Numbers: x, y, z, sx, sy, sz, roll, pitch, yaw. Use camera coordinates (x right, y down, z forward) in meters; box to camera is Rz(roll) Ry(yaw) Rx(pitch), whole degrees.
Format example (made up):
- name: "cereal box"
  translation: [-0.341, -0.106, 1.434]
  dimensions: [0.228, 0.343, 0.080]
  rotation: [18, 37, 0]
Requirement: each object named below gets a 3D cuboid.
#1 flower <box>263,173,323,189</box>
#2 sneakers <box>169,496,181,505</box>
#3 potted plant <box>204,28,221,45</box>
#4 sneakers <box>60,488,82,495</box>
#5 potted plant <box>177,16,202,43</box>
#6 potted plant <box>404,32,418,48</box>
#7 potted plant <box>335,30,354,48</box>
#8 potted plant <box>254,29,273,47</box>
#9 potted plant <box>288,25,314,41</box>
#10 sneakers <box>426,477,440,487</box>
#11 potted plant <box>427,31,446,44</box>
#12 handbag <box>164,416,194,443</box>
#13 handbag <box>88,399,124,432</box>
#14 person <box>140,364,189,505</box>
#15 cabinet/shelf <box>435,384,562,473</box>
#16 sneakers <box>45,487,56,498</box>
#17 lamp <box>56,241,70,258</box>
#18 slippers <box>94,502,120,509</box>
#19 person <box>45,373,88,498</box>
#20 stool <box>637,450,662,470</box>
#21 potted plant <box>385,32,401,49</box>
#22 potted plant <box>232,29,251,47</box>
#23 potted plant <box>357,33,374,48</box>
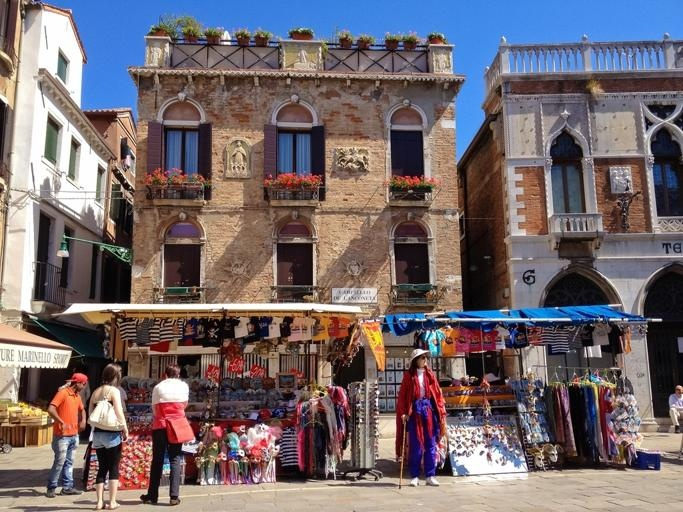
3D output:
- name: "flower"
  translation: [-1.584, -2.417, 24.402]
  dimensions: [0.818, 0.346, 1.029]
  rotation: [1, -3, -39]
- name: "sneakers"
  translation: [-3.180, 4.650, 14.242]
  dimensions: [0.094, 0.116, 0.267]
  rotation: [-1, -5, 9]
- name: "potted plant"
  translation: [-4.353, -7.415, 25.333]
  dimensions: [0.633, 0.409, 0.396]
  rotation: [1, -15, -8]
- name: "sneakers"
  translation: [-5.439, 4.721, 14.983]
  dimensions: [0.437, 0.174, 0.157]
  rotation: [3, -8, -9]
- name: "potted plant"
  translation: [-5.178, -7.756, 25.368]
  dimensions: [0.822, 0.933, 0.568]
  rotation: [1, -15, -10]
- name: "potted plant"
  translation: [2.435, -7.431, 25.873]
  dimensions: [0.561, 0.399, 0.366]
  rotation: [0, -15, -5]
- name: "potted plant"
  translation: [0.144, -7.523, 25.619]
  dimensions: [0.514, 0.495, 0.601]
  rotation: [-2, -15, 0]
- name: "potted plant"
  translation: [-2.659, -7.432, 25.274]
  dimensions: [0.591, 0.538, 0.809]
  rotation: [0, -15, -7]
- name: "potted plant"
  translation: [-1.400, -7.574, 25.206]
  dimensions: [0.765, 0.356, 0.752]
  rotation: [-2, -15, 0]
- name: "sneakers"
  translation: [1.891, 4.636, 15.401]
  dimensions: [0.248, 0.155, 0.124]
  rotation: [-12, -16, 40]
- name: "potted plant"
  translation: [3.268, -7.515, 25.787]
  dimensions: [0.608, 0.346, 0.362]
  rotation: [-6, -15, 16]
- name: "handbag"
  translation: [-3.178, 3.351, 14.449]
  dimensions: [0.223, 0.545, 0.564]
  rotation: [-28, -23, 27]
- name: "handbag"
  translation: [-4.451, 3.000, 14.118]
  dimensions: [0.538, 0.525, 0.271]
  rotation: [4, -23, -9]
- name: "person"
  translation: [-3.353, 3.454, 14.538]
  dimensions: [0.899, 2.648, 0.491]
  rotation: [-2, -15, 2]
- name: "cabinet/shelf"
  translation: [3.475, 3.879, 16.672]
  dimensions: [2.225, 2.051, 0.522]
  rotation: [-1, -19, -14]
- name: "sneakers"
  translation: [-5.750, 4.676, 14.761]
  dimensions: [0.272, 0.115, 0.092]
  rotation: [-16, -21, 42]
- name: "lamp"
  translation: [-8.869, -0.214, 23.651]
  dimensions: [0.339, 0.529, 0.304]
  rotation: [-13, -30, 20]
- name: "slippers"
  translation: [-4.400, 4.684, 14.018]
  dimensions: [0.429, 0.120, 0.327]
  rotation: [2, -15, -15]
- name: "person"
  translation: [-5.593, 3.601, 15.148]
  dimensions: [0.719, 2.424, 0.891]
  rotation: [4, -16, -19]
- name: "stool"
  translation: [6.935, 4.565, 16.759]
  dimensions: [0.339, 0.404, 0.592]
  rotation: [15, -18, -38]
- name: "potted plant"
  translation: [1.799, -7.404, 25.805]
  dimensions: [0.542, 0.488, 0.398]
  rotation: [-2, -15, 3]
- name: "potted plant"
  translation: [-3.343, -7.373, 25.361]
  dimensions: [0.520, 0.550, 0.344]
  rotation: [1, -15, -8]
- name: "potted plant"
  translation: [0.819, -7.397, 25.721]
  dimensions: [0.564, 0.372, 0.431]
  rotation: [-4, -15, 9]
